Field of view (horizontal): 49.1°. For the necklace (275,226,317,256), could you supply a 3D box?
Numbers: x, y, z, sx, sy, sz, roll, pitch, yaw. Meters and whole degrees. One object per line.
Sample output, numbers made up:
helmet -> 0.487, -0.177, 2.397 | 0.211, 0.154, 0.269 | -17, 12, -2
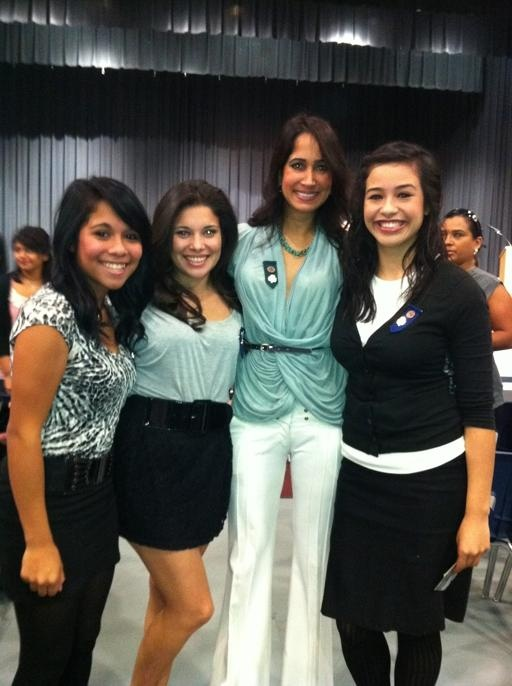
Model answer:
necklace -> 0.131, -0.346, 1.953 | 0.076, 0.027, 0.106 | -5, 61, -26
